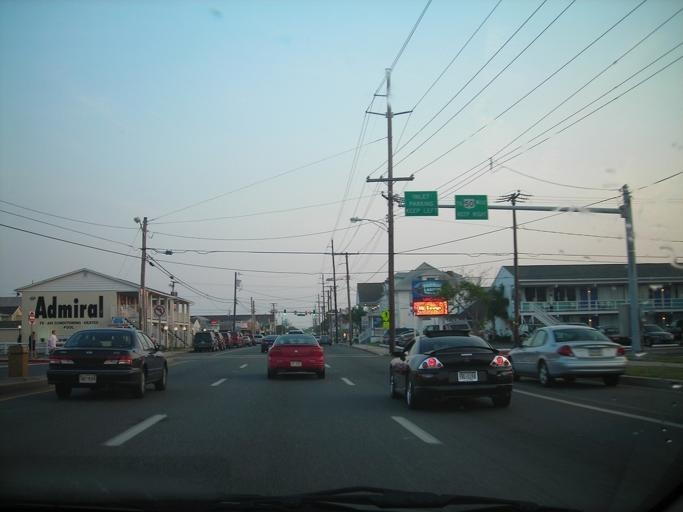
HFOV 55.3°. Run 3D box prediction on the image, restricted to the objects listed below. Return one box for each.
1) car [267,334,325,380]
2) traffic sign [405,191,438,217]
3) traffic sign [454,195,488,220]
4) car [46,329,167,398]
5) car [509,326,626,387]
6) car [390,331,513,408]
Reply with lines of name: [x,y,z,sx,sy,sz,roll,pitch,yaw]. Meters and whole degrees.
car: [-1.567,3.328,21.787,1.835,1.473,1.740,1,-8,-8]
traffic sign: [3.241,-2.274,28.064,1.472,1.023,1.214,-3,-9,16]
traffic sign: [5.213,-1.963,26.528,1.262,1.049,0.673,-2,-8,9]
car: [-5.446,2.596,16.419,1.424,0.954,2.987,0,-5,3]
car: [6.045,2.723,17.926,1.416,1.633,2.873,2,-9,-19]
car: [2.256,2.435,14.336,1.410,0.956,2.486,-1,-3,-3]
